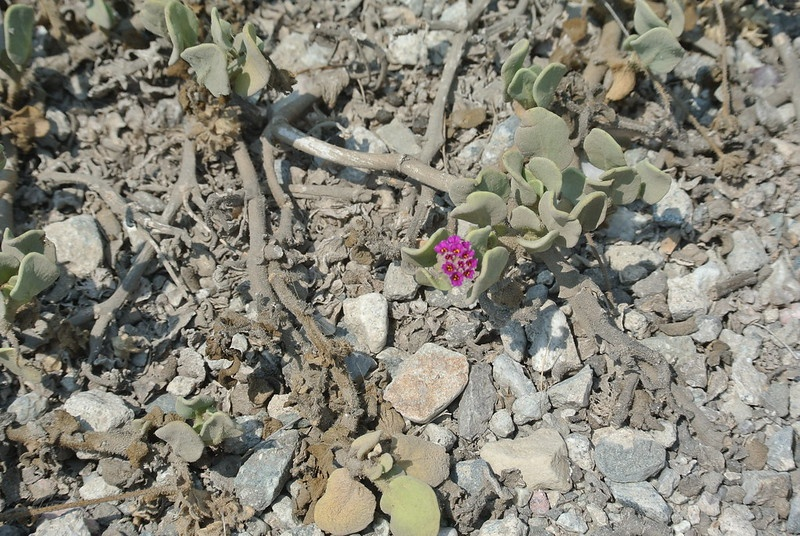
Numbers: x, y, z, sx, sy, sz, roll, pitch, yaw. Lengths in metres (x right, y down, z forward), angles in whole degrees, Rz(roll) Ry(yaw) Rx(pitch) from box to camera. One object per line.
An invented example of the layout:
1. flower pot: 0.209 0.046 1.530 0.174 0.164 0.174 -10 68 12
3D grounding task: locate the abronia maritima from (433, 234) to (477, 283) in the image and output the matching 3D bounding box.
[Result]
1. abronia maritima: 0.318 -0.048 4.118 0.223 0.108 0.258 14 97 9
